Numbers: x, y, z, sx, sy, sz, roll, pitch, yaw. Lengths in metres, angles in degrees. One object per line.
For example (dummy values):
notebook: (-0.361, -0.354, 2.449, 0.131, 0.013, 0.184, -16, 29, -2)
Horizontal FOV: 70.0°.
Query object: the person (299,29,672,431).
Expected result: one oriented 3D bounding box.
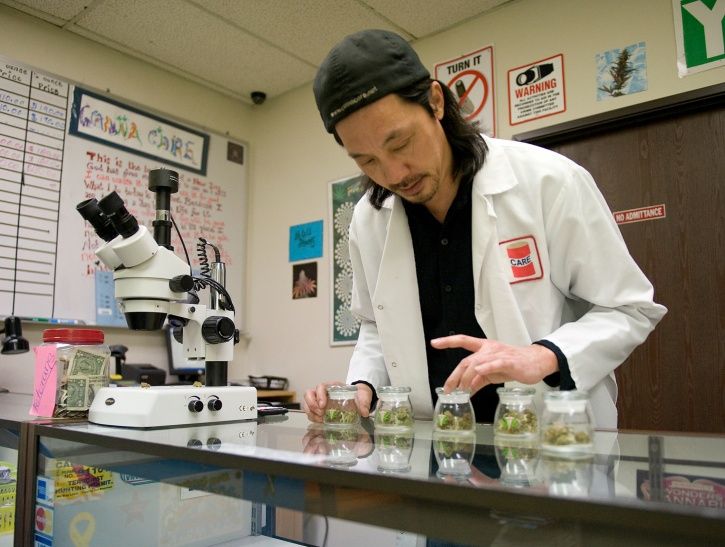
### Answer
person: (0.338, -0.078, 1.497, 0.877, 1.200, 0.820, 6, 1, 11)
